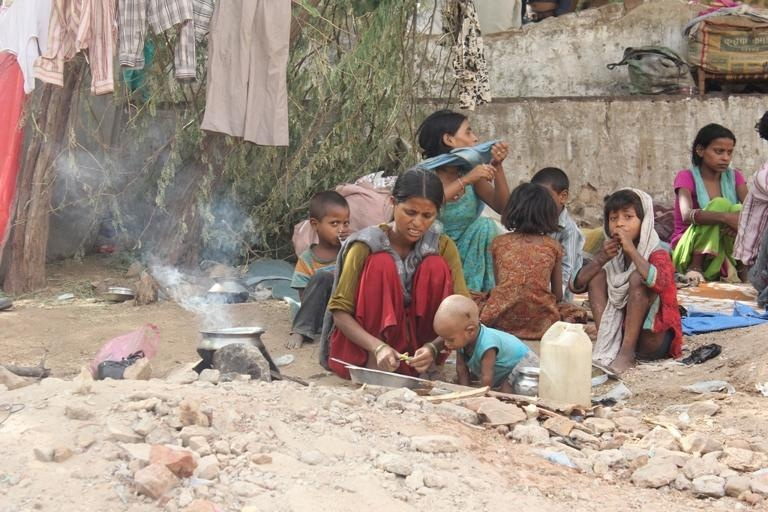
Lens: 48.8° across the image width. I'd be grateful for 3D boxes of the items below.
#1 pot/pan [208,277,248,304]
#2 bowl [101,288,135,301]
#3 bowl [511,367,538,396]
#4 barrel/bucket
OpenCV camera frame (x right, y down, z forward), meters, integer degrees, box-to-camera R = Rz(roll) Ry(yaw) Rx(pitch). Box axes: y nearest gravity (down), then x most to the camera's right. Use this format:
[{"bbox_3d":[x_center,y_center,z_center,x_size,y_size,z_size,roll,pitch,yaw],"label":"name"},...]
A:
[{"bbox_3d":[-1.515,0.335,8.193,0.397,0.183,0.436,0,5,-12],"label":"pot/pan"},{"bbox_3d":[-2.511,0.362,8.009,0.293,0.130,0.141,0,5,-7],"label":"bowl"},{"bbox_3d":[0.978,0.855,5.768,0.173,0.190,0.175,2,-5,0],"label":"bowl"},{"bbox_3d":[1.243,0.735,5.745,0.284,0.522,0.301,1,5,0],"label":"barrel/bucket"}]
